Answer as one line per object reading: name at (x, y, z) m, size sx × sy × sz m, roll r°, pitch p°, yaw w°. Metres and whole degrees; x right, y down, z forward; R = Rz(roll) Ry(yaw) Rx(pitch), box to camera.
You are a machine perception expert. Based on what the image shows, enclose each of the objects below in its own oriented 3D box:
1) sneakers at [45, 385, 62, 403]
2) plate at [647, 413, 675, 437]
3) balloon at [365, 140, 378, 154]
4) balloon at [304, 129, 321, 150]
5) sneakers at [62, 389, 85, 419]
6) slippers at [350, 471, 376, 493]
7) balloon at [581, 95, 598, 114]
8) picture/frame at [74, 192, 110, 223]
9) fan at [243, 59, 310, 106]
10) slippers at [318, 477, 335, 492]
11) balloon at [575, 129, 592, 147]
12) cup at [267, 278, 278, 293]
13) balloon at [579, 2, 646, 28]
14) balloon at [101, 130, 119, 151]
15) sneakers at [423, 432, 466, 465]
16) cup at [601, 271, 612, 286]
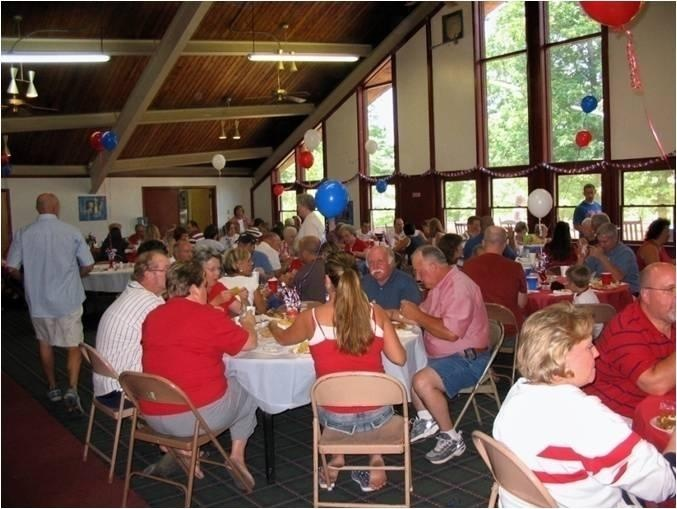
sneakers at (-2.563, 1.260, 4.880) m, size 0.066 × 0.083 × 0.180 m, roll -5°, pitch 7°, yaw -33°
plate at (1.441, 0.732, 2.382) m, size 0.165 × 0.037 × 0.107 m, roll -5°, pitch 6°, yaw -38°
balloon at (0.787, -2.527, 12.815) m, size 0.273 × 0.361 × 0.289 m, roll 1°, pitch -3°, yaw 5°
balloon at (-0.609, -2.655, 12.669) m, size 0.439 × 0.570 × 0.463 m, roll 1°, pitch 4°, yaw -2°
sneakers at (-2.273, 1.257, 4.648) m, size 0.119 × 0.309 × 0.138 m, roll -3°, pitch 26°, yaw -1°
slippers at (0.158, 1.424, 3.413) m, size 0.065 × 0.089 × 0.197 m, roll 1°, pitch -3°, yaw -23°
balloon at (4.343, -2.595, 9.324) m, size 0.225 × 0.317 × 0.470 m, roll 1°, pitch 5°, yaw 30°
picture/frame at (-6.661, -1.248, 14.490) m, size 0.078 × 0.789 × 0.769 m, roll 0°, pitch 3°, yaw 41°
fan at (-1.056, -3.229, 9.937) m, size 0.819 × 0.815 × 0.846 m, roll 5°, pitch 15°, yaw 0°
slippers at (-0.080, 1.458, 3.441) m, size 0.057 × 0.069 × 0.104 m, roll 0°, pitch -11°, yaw 3°
balloon at (4.257, -1.976, 9.363) m, size 0.260 × 0.349 × 0.204 m, roll 2°, pitch 0°, yaw 18°
cup at (-0.545, 0.254, 4.555) m, size 0.088 × 0.146 × 0.092 m, roll -1°, pitch 0°, yaw 0°
balloon at (2.151, -1.919, 4.274) m, size 0.410 × 0.209 × 0.321 m, roll -1°, pitch 4°, yaw 2°
balloon at (-4.678, -2.336, 11.020) m, size 0.323 × 0.376 × 0.525 m, roll -3°, pitch 5°, yaw -23°
sneakers at (0.738, 1.341, 3.735) m, size 0.266 × 0.170 × 0.093 m, roll -29°, pitch 12°, yaw -12°
cup at (2.689, 0.233, 5.343) m, size 0.125 × 0.170 × 0.156 m, roll -1°, pitch -4°, yaw 28°
